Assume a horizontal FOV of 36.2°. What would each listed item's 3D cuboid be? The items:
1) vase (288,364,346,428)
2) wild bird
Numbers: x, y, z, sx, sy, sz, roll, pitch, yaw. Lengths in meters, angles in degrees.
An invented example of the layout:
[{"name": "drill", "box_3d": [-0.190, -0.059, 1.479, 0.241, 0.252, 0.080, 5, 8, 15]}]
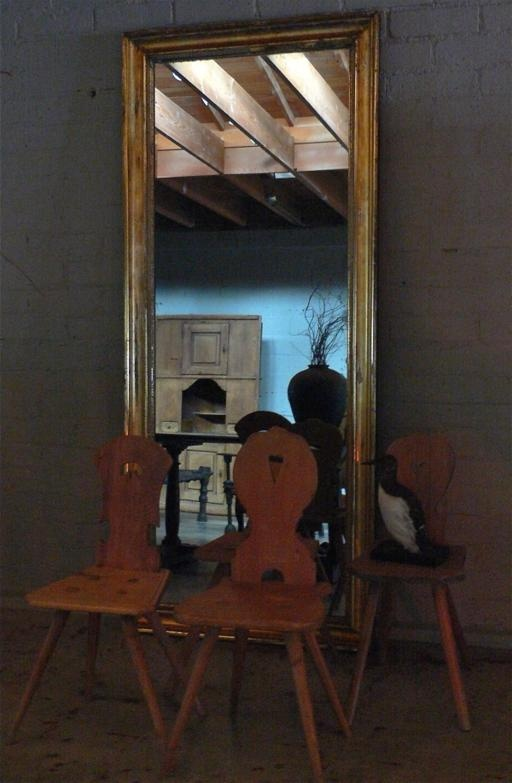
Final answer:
[{"name": "vase", "box_3d": [0.171, 0.021, 2.158, 0.170, 0.182, 0.161, -3, -4, 15]}, {"name": "wild bird", "box_3d": [0.324, 0.285, 1.863, 0.223, 0.282, 0.147, 3, -6, 12]}]
